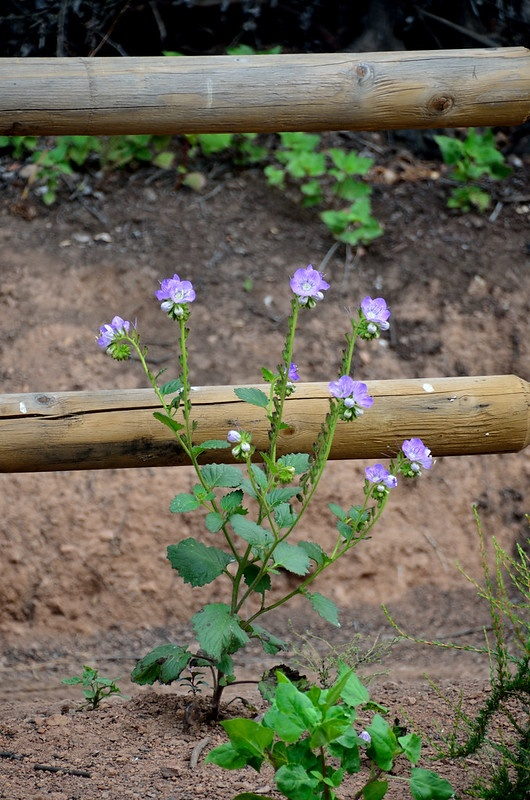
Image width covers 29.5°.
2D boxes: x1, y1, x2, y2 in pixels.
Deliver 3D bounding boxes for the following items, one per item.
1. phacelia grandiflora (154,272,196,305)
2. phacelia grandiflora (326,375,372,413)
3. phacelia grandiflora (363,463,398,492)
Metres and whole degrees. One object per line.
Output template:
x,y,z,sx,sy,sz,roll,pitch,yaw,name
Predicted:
-0.260,-0.319,2.930,0.098,0.088,0.203,-1,10,-3,phacelia grandiflora
0.242,-0.023,2.862,0.112,0.100,0.109,0,11,2,phacelia grandiflora
0.316,0.223,2.897,0.106,0.037,0.075,13,48,-3,phacelia grandiflora
